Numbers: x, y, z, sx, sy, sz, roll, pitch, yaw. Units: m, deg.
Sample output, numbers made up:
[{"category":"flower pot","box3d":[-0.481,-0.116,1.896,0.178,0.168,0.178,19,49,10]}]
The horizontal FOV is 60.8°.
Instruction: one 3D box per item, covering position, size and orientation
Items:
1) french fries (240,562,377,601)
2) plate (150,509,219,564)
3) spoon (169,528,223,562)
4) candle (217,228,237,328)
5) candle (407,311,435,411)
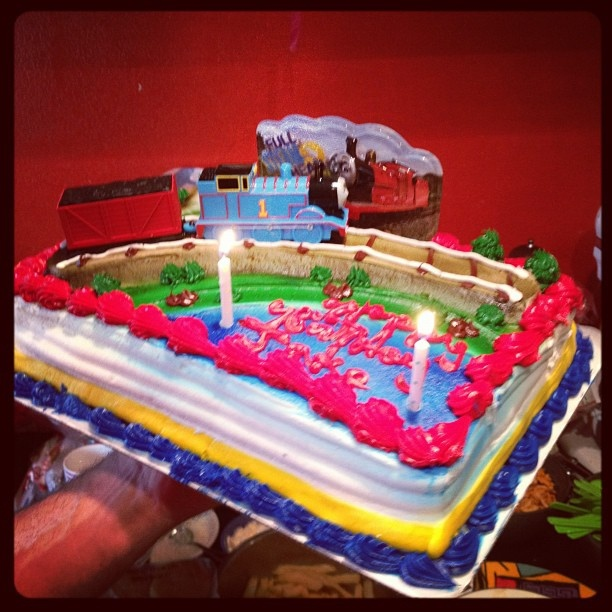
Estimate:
[{"category":"french fries","box3d":[0.016,1.585,3.011,0.746,0.262,0.151,3,53,-2]},{"category":"plate","box3d":[-0.729,1.385,3.087,0.449,0.234,0.190,-10,54,-11]},{"category":"spoon","box3d":[-0.705,1.402,3.176,0.400,0.128,0.061,17,10,21]},{"category":"candle","box3d":[-0.532,-0.131,3.350,0.108,0.583,0.145,4,18,16]},{"category":"candle","box3d":[0.674,0.271,2.716,0.179,0.483,0.227,9,40,9]}]
